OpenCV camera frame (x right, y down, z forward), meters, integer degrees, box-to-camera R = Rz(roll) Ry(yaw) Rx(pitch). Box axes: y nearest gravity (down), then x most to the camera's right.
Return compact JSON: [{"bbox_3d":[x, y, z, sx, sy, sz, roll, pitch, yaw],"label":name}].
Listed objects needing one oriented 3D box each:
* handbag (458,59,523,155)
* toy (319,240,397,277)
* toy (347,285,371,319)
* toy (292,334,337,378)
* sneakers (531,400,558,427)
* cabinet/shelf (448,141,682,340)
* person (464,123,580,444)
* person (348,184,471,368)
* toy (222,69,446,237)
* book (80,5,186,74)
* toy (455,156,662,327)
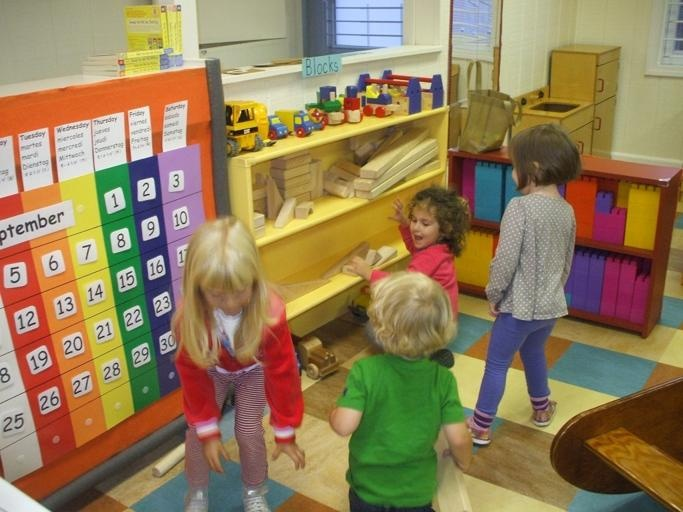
[{"bbox_3d":[1.142,-1.137,3.793,0.341,0.668,0.582,-7,26,-20],"label":"handbag"},{"bbox_3d":[0.179,0.016,3.498,0.246,0.093,0.396,8,26,31],"label":"toy"},{"bbox_3d":[0.149,0.365,3.767,0.179,0.126,0.249,-19,29,-31],"label":"toy"},{"bbox_3d":[-0.180,0.663,3.215,0.165,0.164,0.301,-22,30,-38],"label":"toy"},{"bbox_3d":[1.123,0.880,2.753,0.072,0.103,0.212,-2,24,30],"label":"sneakers"},{"bbox_3d":[1.403,-0.074,3.125,1.135,0.963,0.384,21,26,38],"label":"cabinet/shelf"},{"bbox_3d":[0.934,0.186,2.497,0.516,1.599,0.448,1,20,9],"label":"person"},{"bbox_3d":[0.436,0.140,2.933,0.640,1.082,0.540,-5,3,-44],"label":"person"},{"bbox_3d":[-0.072,-0.669,3.148,0.319,0.720,1.063,11,32,44],"label":"toy"},{"bbox_3d":[-0.978,-1.007,2.320,0.285,0.305,0.416,12,25,32],"label":"book"},{"bbox_3d":[1.412,-0.085,3.064,0.985,0.825,0.328,21,27,40],"label":"toy"}]
